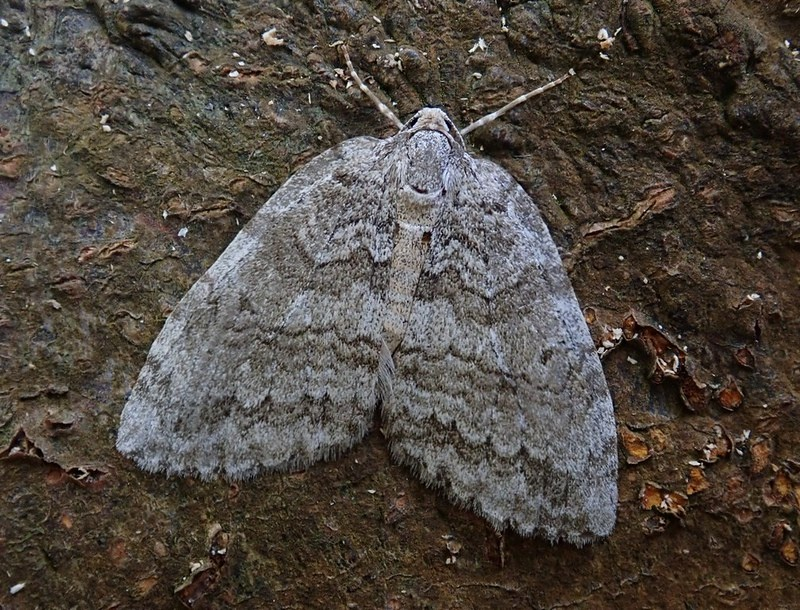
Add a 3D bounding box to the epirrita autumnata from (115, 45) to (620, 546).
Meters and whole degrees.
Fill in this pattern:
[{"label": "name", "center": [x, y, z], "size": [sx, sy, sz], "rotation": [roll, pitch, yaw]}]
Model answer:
[{"label": "epirrita autumnata", "center": [-0.227, 0.067, 6.176], "size": [2.380, 0.711, 2.942], "rotation": [12, 92, 4]}]
